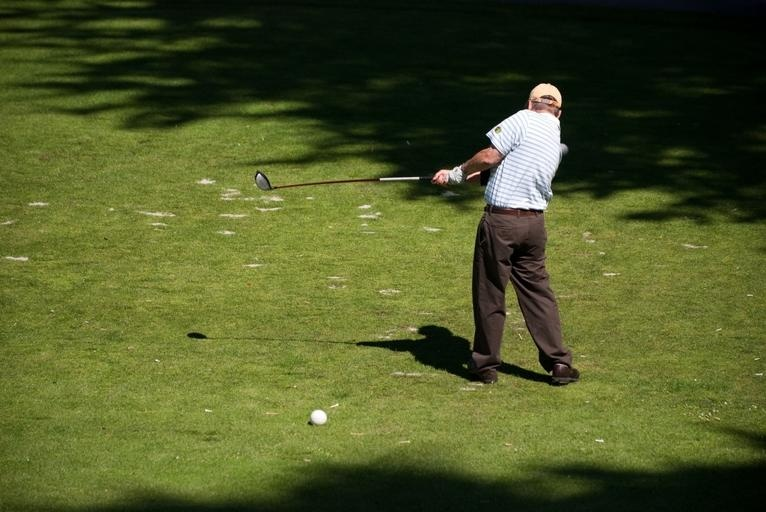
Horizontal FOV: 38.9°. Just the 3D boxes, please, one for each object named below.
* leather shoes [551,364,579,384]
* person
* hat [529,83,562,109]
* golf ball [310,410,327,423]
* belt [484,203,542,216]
[{"bbox_3d":[1.563,1.012,9.311,0.129,0.107,0.283,3,7,33],"label":"leather shoes"},{"bbox_3d":[1.130,-0.046,9.223,0.796,2.274,1.203,-7,29,-27],"label":"person"},{"bbox_3d":[1.392,-1.361,9.332,0.264,0.156,0.315,6,6,-6],"label":"hat"},{"bbox_3d":[-0.529,1.307,8.901,0.151,0.103,0.132,0,23,-13],"label":"golf ball"},{"bbox_3d":[1.095,-0.373,9.155,0.475,0.083,0.107,6,22,5],"label":"belt"}]
